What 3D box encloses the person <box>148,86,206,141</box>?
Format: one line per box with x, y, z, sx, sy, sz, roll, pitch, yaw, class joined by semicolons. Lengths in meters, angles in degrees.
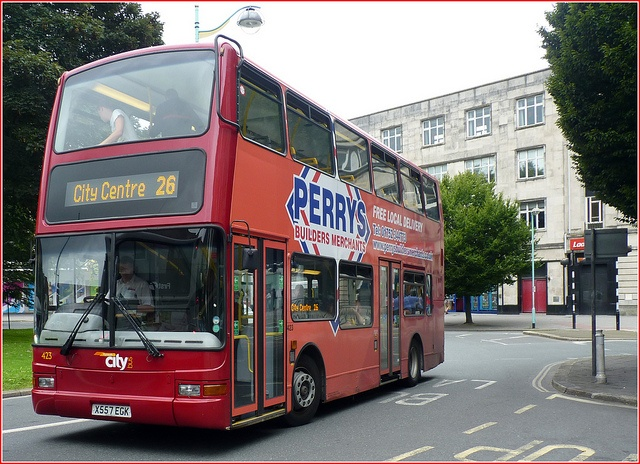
-2.249;-1.886;9.331;0.904;0.848;0.241;-3;-4;31;person

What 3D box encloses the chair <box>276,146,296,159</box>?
-0.554;-1.409;10.683;0.229;0.161;0.236;-6;-6;38;chair

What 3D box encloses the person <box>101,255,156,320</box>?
-2.874;0.853;9.115;0.665;1.024;0.527;-12;-12;21;person
